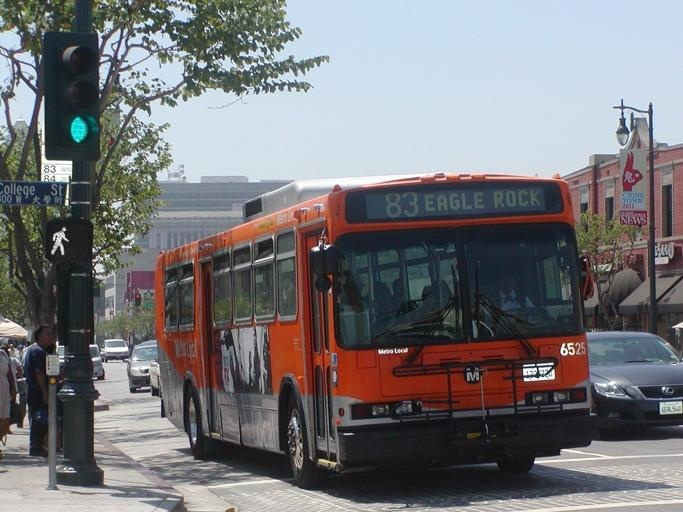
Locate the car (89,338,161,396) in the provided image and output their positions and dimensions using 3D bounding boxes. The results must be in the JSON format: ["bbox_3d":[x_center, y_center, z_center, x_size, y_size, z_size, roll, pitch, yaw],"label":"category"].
[{"bbox_3d":[-8.272,4.706,41.171,1.118,2.019,1.983,-2,-6,-12],"label":"car"}]

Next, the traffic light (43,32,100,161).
[{"bbox_3d":[-3.451,-2.034,12.693,0.657,1.563,0.723,-4,4,-34],"label":"traffic light"}]

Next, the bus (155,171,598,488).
[{"bbox_3d":[-0.401,1.408,17.292,3.416,4.206,10.778,-1,-4,-23],"label":"bus"}]

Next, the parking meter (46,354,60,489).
[{"bbox_3d":[-3.768,2.174,12.951,0.164,1.764,0.502,-2,-5,-16],"label":"parking meter"}]
